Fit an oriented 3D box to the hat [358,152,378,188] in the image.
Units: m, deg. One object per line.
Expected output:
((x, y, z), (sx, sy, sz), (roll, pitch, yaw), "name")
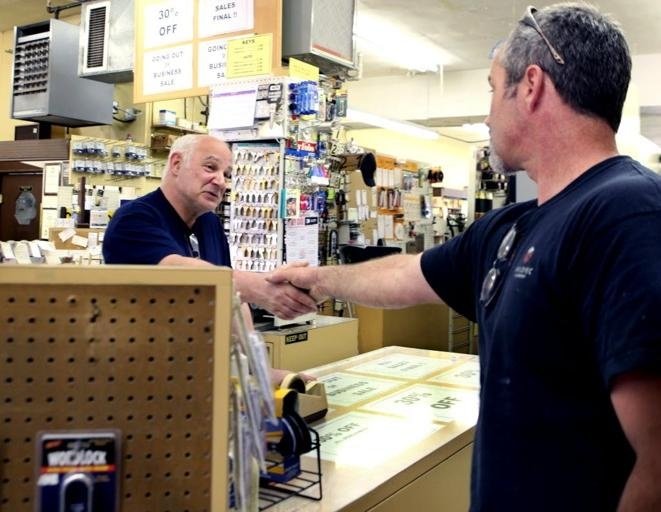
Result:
((0.383, -0.936, 6.141), (0.209, 0.362, 0.184), (-19, 20, -30), "hat")

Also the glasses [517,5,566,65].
((0.461, -0.471, 1.213), (0.037, 0.120, 0.123), (-40, 3, 16), "glasses")

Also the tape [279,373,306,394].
((-0.127, 0.421, 1.814), (0.075, 0.068, 0.071), (10, 33, 9), "tape")
